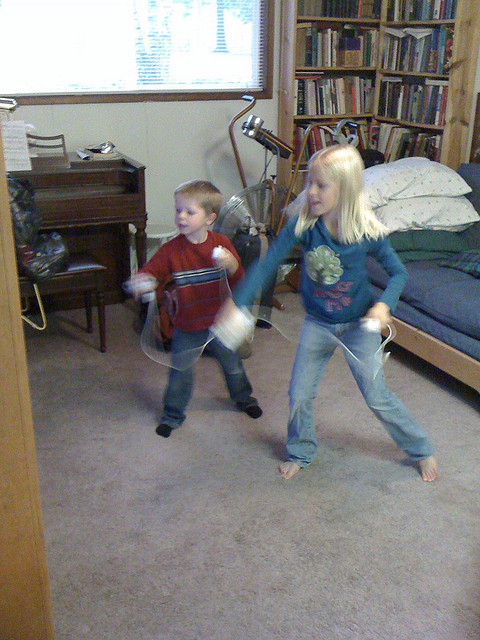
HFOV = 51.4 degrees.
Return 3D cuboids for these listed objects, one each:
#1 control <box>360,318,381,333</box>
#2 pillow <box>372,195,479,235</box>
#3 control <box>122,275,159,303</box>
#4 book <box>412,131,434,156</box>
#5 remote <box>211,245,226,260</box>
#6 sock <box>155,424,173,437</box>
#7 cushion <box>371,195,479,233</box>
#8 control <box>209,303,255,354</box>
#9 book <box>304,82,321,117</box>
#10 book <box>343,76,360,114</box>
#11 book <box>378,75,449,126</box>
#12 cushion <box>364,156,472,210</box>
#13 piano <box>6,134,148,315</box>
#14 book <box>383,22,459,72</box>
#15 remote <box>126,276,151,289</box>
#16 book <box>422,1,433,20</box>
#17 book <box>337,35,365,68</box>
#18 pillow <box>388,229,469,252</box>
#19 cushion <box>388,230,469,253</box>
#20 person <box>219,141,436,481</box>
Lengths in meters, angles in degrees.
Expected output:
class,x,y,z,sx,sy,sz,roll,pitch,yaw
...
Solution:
class,x,y,z,sx,sy,sz,roll,pitch,yaw
control,0.383,0.024,1.459,0.047,0.035,0.011,0,26,38
pillow,1.057,-0.606,2.871,0.518,0.147,0.448,-3,18,-8
control,-0.317,-0.098,1.624,0.096,0.094,0.034,-26,-10,-15
book,1.312,-1.263,3.591,0.115,0.196,0.210,11,15,23
remote,-0.075,-0.211,1.614,0.039,0.051,0.040,-1,48,-23
sock,-0.302,0.443,1.989,0.068,0.043,0.045,-1,23,-5
cushion,1.003,-0.583,2.753,0.452,0.125,0.439,-3,26,-4
control,-0.006,0.022,1.596,0.130,0.129,0.137,43,18,0
book,0.534,-1.654,3.717,0.138,0.216,0.233,-10,13,10
book,0.860,-1.756,3.883,0.132,0.221,0.232,-5,23,-6
book,1.304,-1.631,3.668,0.580,0.316,0.219,20,38,32
cushion,1.024,-0.815,2.905,0.503,0.147,0.457,-6,28,-4
piano,-0.911,-0.522,2.941,0.723,1.067,0.573,-4,24,-11
book,1.257,-1.904,3.502,0.153,0.315,0.680,-8,24,-19
remote,-0.340,-0.125,1.641,0.050,0.017,0.050,-8,29,-1
book,1.264,-2.102,3.383,0.024,0.099,0.098,7,18,-11
book,0.816,-1.998,3.710,0.188,0.236,0.248,1,17,3
pillow,1.060,-0.447,2.816,0.348,0.081,0.210,2,19,1
cushion,1.061,-0.448,2.813,0.321,0.074,0.193,4,26,1
person,0.286,0.018,1.573,0.780,1.063,0.475,-2,11,-7
